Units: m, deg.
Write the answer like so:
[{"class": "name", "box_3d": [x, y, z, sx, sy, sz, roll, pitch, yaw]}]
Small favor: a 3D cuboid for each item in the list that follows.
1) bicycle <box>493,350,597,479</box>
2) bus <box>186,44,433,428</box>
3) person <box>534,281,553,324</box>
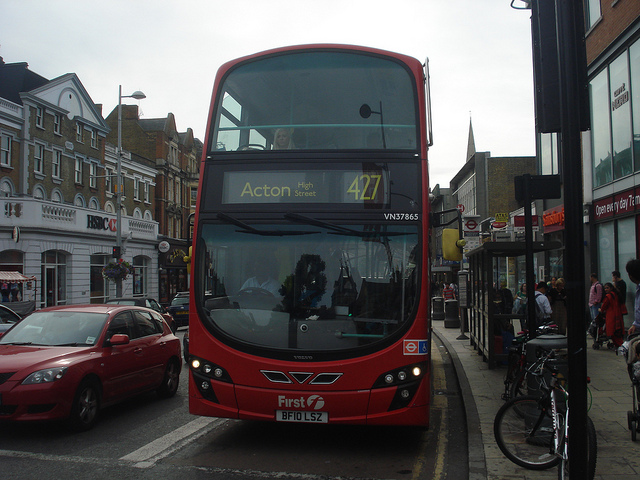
[{"class": "bicycle", "box_3d": [2.389, 2.100, 7.479, 1.627, 1.163, 0.851, 7, -7, 41]}, {"class": "bus", "box_3d": [-0.111, -0.098, 8.599, 3.216, 4.604, 1.422, -1, 0, 8]}, {"class": "person", "box_3d": [4.939, 1.365, 13.413, 0.304, 0.642, 1.222, 0, 0, 20]}]
